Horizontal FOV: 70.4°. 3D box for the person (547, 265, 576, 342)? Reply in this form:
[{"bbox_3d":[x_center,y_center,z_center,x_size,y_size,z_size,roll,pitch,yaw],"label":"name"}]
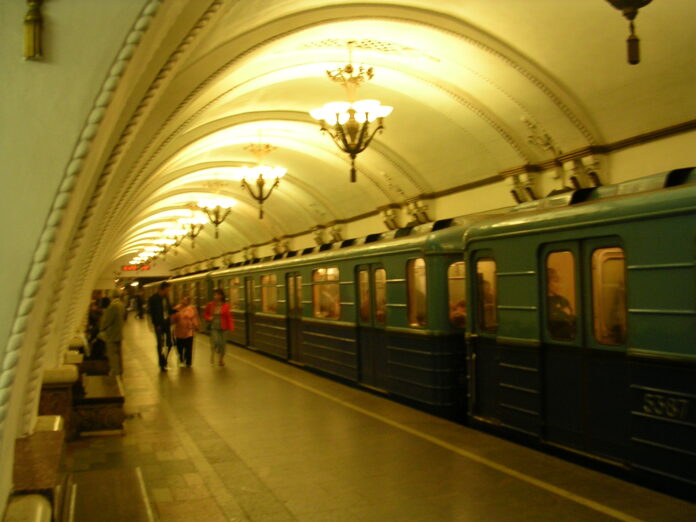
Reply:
[{"bbox_3d":[2.543,0.494,5.876,0.130,0.915,0.408,-3,-1,-15],"label":"person"}]

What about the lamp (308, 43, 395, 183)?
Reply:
[{"bbox_3d":[0.051,-3.027,9.851,1.623,2.771,1.702,-3,-2,34],"label":"lamp"}]
